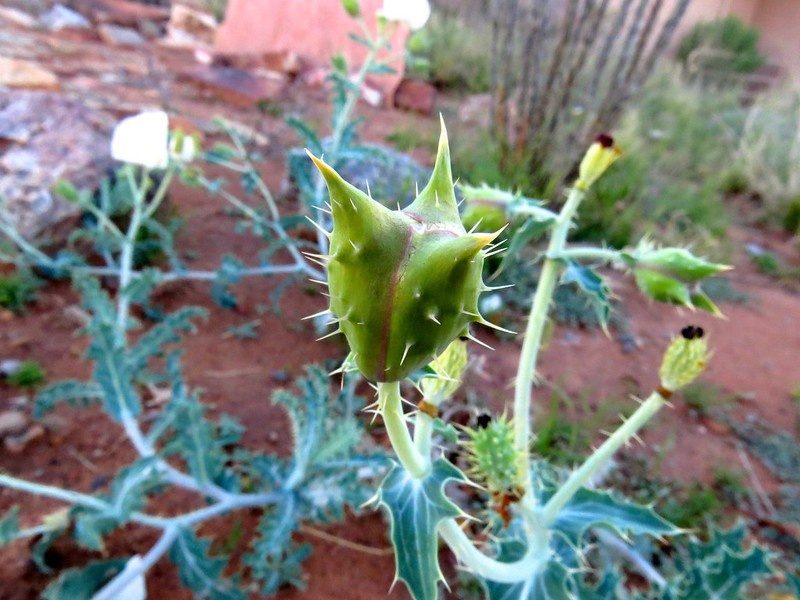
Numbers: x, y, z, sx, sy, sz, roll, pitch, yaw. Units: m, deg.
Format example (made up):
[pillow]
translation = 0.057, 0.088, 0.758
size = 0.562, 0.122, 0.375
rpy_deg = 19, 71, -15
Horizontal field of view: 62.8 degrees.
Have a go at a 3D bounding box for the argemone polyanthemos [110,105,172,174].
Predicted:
[argemone polyanthemos]
translation = -0.481, -0.296, 1.213
size = 0.093, 0.079, 0.077
rpy_deg = -1, 36, -27
